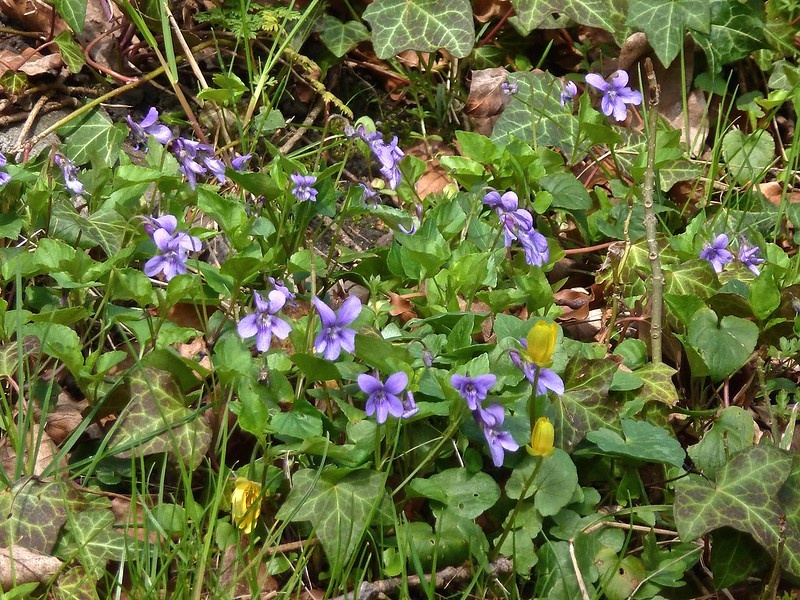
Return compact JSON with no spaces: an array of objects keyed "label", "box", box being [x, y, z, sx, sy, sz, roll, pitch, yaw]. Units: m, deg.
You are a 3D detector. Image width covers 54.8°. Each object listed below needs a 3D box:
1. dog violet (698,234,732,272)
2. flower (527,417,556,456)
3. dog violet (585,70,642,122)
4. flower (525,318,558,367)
[{"label":"dog violet","box":[1.221,-0.177,2.977,0.117,0.148,0.053,0,20,14]},{"label":"flower","box":[0.390,0.382,2.097,0.065,0.057,0.095,-1,74,31]},{"label":"dog violet","box":[0.918,-0.899,3.355,0.292,0.215,0.096,15,83,-35]},{"label":"flower","box":[0.375,0.127,2.067,0.079,0.150,0.089,9,20,0]}]
